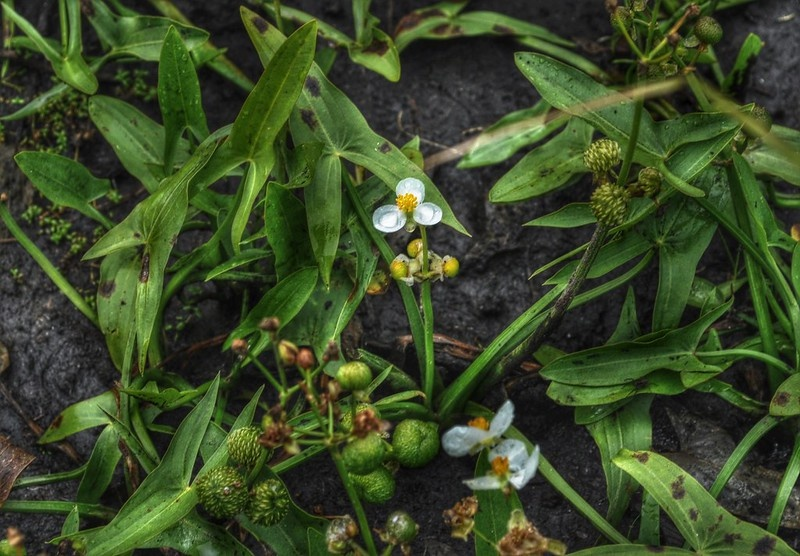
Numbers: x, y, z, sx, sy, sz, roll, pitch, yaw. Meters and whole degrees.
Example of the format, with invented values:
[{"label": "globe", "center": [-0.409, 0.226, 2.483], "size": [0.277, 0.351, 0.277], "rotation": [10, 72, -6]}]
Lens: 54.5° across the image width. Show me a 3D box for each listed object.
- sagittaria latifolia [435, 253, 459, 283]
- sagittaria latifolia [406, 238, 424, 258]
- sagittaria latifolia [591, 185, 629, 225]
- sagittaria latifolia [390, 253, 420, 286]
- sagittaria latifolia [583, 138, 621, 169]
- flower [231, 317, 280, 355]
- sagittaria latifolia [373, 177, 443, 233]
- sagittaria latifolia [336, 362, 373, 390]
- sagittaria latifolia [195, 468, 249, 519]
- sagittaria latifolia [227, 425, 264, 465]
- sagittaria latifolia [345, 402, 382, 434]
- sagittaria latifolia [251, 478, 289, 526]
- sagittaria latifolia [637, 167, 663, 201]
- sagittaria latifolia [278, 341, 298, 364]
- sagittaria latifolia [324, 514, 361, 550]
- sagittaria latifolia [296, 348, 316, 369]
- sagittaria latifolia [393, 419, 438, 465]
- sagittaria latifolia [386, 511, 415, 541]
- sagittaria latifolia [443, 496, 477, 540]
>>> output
[{"label": "sagittaria latifolia", "center": [0.173, -0.043, 2.920], "size": [0.087, 0.071, 0.085], "rotation": [-9, 86, 26]}, {"label": "sagittaria latifolia", "center": [0.054, -0.108, 2.889], "size": [0.047, 0.061, 0.051], "rotation": [4, 63, -1]}, {"label": "sagittaria latifolia", "center": [0.714, -0.248, 2.635], "size": [0.108, 0.124, 0.134], "rotation": [10, 43, 9]}, {"label": "sagittaria latifolia", "center": [0.016, -0.033, 2.891], "size": [0.099, 0.047, 0.110], "rotation": [35, 78, -23]}, {"label": "sagittaria latifolia", "center": [0.703, -0.423, 2.705], "size": [0.099, 0.100, 0.124], "rotation": [-5, 88, 28]}, {"label": "flower", "center": [-0.527, 0.210, 2.816], "size": [0.071, 0.246, 0.097], "rotation": [4, 57, -37]}, {"label": "sagittaria latifolia", "center": [0.017, -0.273, 2.881], "size": [0.162, 0.225, 0.089], "rotation": [2, 76, 39]}, {"label": "sagittaria latifolia", "center": [-0.152, 0.318, 2.525], "size": [0.087, 0.089, 0.101], "rotation": [-7, 103, -34]}, {"label": "sagittaria latifolia", "center": [-0.628, 0.752, 2.736], "size": [0.170, 0.144, 0.185], "rotation": [10, 76, -37]}, {"label": "sagittaria latifolia", "center": [-0.556, 0.591, 2.753], "size": [0.133, 0.090, 0.126], "rotation": [0, 64, -4]}, {"label": "sagittaria latifolia", "center": [-0.132, 0.450, 2.506], "size": [0.139, 0.070, 0.143], "rotation": [-1, 87, 10]}, {"label": "sagittaria latifolia", "center": [-0.480, 0.788, 2.829], "size": [0.128, 0.142, 0.152], "rotation": [-5, 111, -25]}, {"label": "sagittaria latifolia", "center": [0.895, -0.344, 2.832], "size": [0.089, 0.093, 0.100], "rotation": [31, 72, -33]}, {"label": "sagittaria latifolia", "center": [-0.349, 0.247, 2.401], "size": [0.055, 0.043, 0.088], "rotation": [-6, 105, -15]}, {"label": "sagittaria latifolia", "center": [-0.205, 0.894, 2.697], "size": [0.107, 0.164, 0.115], "rotation": [-12, 64, -9]}, {"label": "sagittaria latifolia", "center": [-0.295, 0.251, 2.392], "size": [0.052, 0.088, 0.050], "rotation": [-4, 62, -5]}, {"label": "sagittaria latifolia", "center": [0.062, 0.635, 3.008], "size": [0.187, 0.143, 0.156], "rotation": [9, 63, 0]}, {"label": "sagittaria latifolia", "center": [-0.003, 0.862, 2.753], "size": [0.093, 0.057, 0.094], "rotation": [19, 101, -13]}, {"label": "sagittaria latifolia", "center": [0.233, 0.884, 2.824], "size": [0.066, 0.127, 0.168], "rotation": [4, 105, -44]}]
